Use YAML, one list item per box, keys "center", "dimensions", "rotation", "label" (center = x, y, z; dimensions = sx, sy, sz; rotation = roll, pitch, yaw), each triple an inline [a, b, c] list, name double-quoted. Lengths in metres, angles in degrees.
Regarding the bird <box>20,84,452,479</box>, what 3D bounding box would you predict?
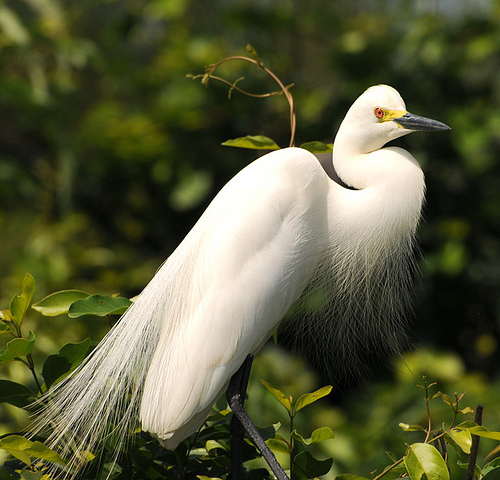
- center: [0.014, 0.134, 1.528]
  dimensions: [0.396, 0.514, 0.911]
  rotation: [40, 59, 23]
  label: "bird"
